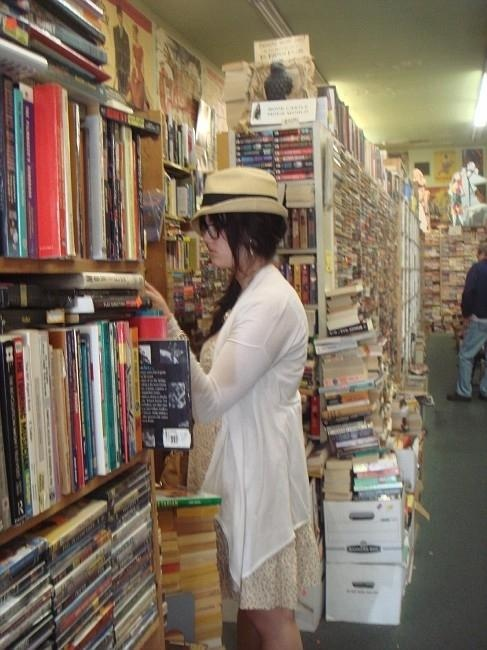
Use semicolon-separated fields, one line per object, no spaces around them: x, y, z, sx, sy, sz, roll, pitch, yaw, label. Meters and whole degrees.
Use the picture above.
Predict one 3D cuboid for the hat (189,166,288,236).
-0.011;-0.302;1.370;0.159;0.117;0.142;1;-2;-27;hat
